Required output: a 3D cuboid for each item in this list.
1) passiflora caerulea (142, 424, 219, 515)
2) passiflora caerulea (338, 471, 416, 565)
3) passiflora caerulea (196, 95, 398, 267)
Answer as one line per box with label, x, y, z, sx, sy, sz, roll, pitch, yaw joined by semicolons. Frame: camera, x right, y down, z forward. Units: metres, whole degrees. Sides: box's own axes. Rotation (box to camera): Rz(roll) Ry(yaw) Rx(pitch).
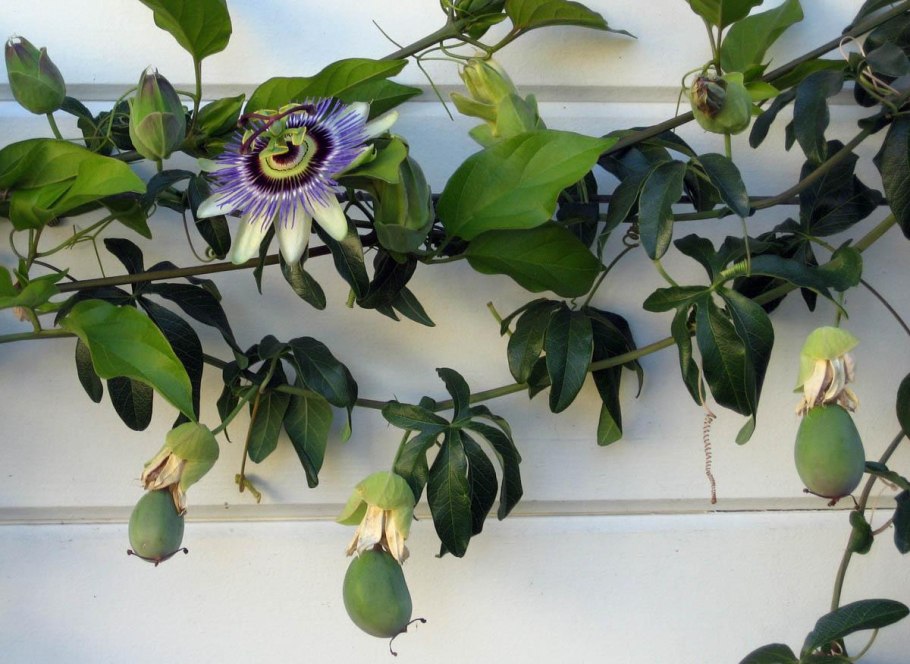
passiflora caerulea;-0.310;0.143;1.283;0.068;0.109;0.041;32;-5;-6
passiflora caerulea;-0.078;0.205;1.327;0.069;0.115;0.119;-3;19;-18
passiflora caerulea;-0.170;-0.178;1.270;0.231;0.225;0.088;-5;-15;25
